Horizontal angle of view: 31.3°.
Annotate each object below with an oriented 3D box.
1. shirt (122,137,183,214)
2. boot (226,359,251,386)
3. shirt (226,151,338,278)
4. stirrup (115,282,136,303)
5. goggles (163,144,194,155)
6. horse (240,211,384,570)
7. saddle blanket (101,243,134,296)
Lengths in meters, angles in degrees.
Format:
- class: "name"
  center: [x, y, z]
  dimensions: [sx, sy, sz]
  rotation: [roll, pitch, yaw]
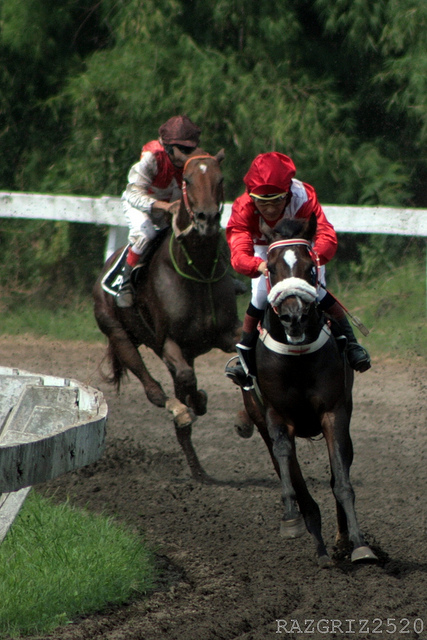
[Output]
- class: "shirt"
  center: [-0.411, -0.941, 4.863]
  dimensions: [0.379, 0.516, 0.363]
  rotation: [15, 26, 40]
- class: "boot"
  center: [0.126, 0.265, 3.821]
  dimensions: [0.077, 0.044, 0.114]
  rotation: [-24, 38, -9]
- class: "shirt"
  center: [0.268, -0.511, 3.464]
  dimensions: [0.501, 0.624, 0.633]
  rotation: [-8, 20, 7]
- class: "stirrup"
  center: [-0.567, -0.184, 5.083]
  dimensions: [0.141, 0.121, 0.040]
  rotation: [0, -4, 19]
- class: "goggles"
  center: [-0.231, -1.028, 4.558]
  dimensions: [0.215, 0.067, 0.094]
  rotation: [12, 34, 43]
- class: "horse"
  center: [0.430, 0.427, 3.648]
  dimensions: [0.640, 1.439, 2.038]
  rotation: [-6, -18, 7]
- class: "saddle blanket"
  center: [-0.677, -0.378, 5.433]
  dimensions: [0.135, 0.313, 0.043]
  rotation: [16, -4, -21]
